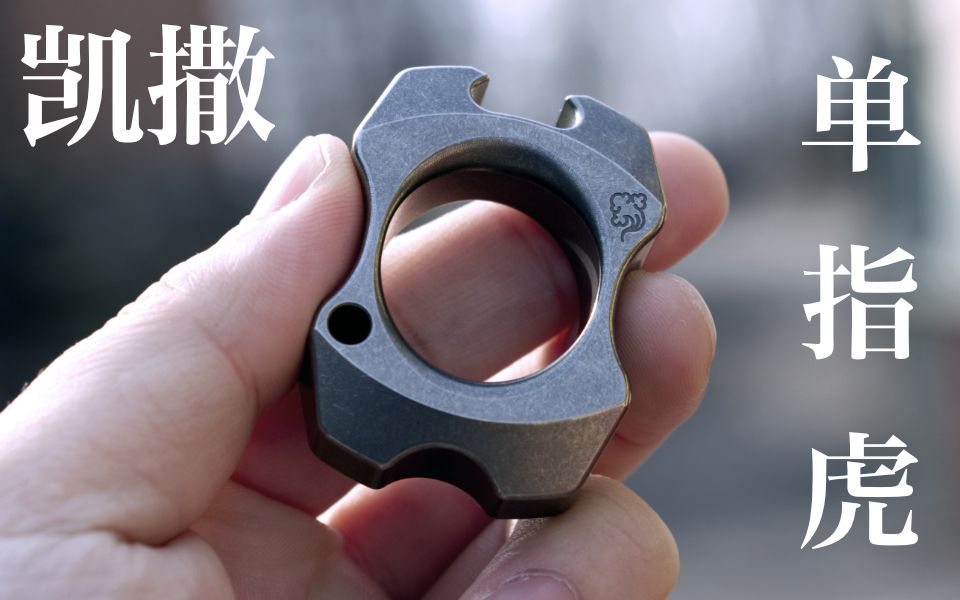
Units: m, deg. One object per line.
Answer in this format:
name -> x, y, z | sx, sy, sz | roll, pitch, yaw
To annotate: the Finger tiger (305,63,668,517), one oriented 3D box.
Finger tiger -> 0.016, -0.023, 2.034 | 0.663, 0.198, 0.899 | 12, 73, 1
